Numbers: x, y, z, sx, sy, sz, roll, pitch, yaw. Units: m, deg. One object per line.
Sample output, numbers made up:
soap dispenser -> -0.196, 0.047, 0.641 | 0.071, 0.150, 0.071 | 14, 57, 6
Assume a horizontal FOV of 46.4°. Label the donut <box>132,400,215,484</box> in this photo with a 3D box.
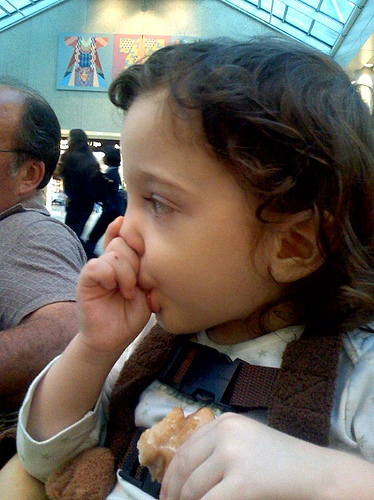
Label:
donut -> -0.029, 0.330, 0.761 | 0.104, 0.167, 0.083 | -20, 45, -39
